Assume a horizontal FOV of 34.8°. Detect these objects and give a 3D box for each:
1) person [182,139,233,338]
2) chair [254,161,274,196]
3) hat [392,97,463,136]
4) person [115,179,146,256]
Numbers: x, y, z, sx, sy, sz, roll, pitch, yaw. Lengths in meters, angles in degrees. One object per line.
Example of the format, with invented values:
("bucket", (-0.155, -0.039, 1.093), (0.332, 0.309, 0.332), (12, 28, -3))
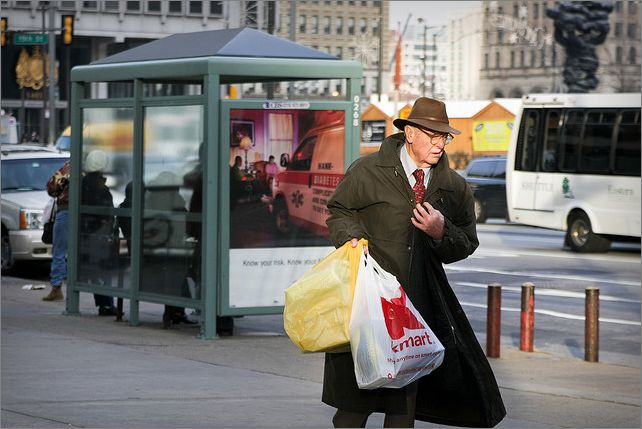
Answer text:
("person", (-1.598, 0.378, 14.580), (0.568, 2.772, 0.499), (-2, 7, -36))
("chair", (-0.759, -0.525, 14.443), (0.310, 0.485, 0.333), (1, -6, -20))
("hat", (1.066, -0.975, 10.231), (0.427, 0.220, 0.478), (17, -2, -17))
("person", (-2.810, 0.069, 15.131), (0.134, 1.103, 0.529), (-3, 7, -42))
